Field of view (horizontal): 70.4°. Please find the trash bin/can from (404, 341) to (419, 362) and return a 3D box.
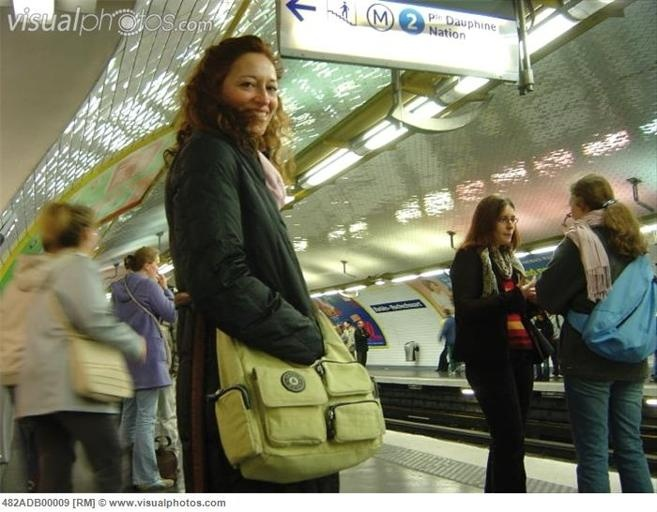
[{"bbox_3d":[3.005,3.436,17.021,0.287,0.779,0.648,-4,-7,-31],"label":"trash bin/can"}]
